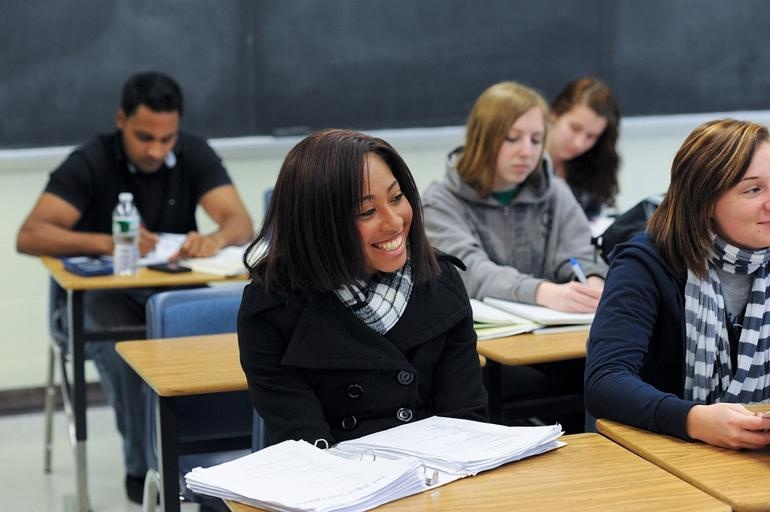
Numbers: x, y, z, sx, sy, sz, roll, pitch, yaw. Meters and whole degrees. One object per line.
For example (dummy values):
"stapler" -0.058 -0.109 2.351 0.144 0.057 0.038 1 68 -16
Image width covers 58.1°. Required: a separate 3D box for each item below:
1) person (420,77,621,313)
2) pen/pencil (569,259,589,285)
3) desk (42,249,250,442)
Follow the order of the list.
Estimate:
"person" 0.553 -0.284 3.028 0.699 0.863 0.990 -9 13 -27
"pen/pencil" 0.749 0.060 2.667 0.024 0.109 0.028 -16 35 33
"desk" -1.056 0.246 3.053 0.823 0.706 0.780 -2 12 -23
